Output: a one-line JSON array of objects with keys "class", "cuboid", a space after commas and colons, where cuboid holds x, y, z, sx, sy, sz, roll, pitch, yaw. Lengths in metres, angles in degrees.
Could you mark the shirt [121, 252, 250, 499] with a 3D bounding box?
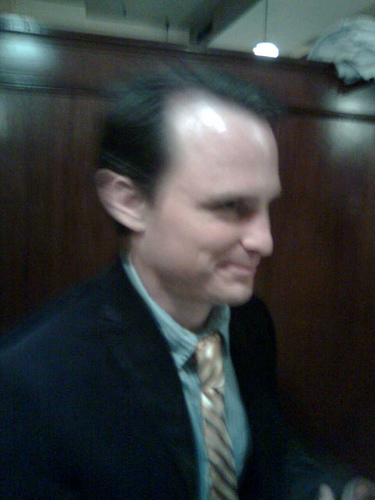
[{"class": "shirt", "cuboid": [0.015, 0.238, 1.035, 0.270, 0.442, 0.109, -9, -5, -3]}]
